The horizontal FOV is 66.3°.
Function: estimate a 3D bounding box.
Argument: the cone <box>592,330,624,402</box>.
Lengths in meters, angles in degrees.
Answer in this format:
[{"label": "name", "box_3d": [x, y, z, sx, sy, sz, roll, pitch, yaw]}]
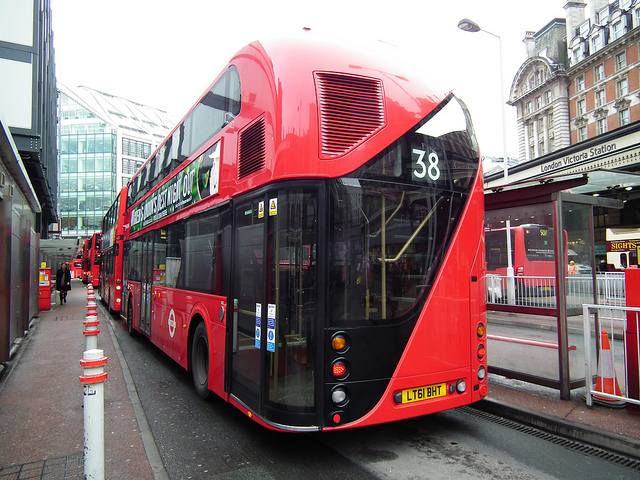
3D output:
[{"label": "cone", "box_3d": [4.772, 2.025, 8.071, 0.369, 1.077, 0.262, 3, 7, 35]}]

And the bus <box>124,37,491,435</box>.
[{"label": "bus", "box_3d": [-0.096, -0.131, 7.645, 5.022, 6.004, 2.646, 3, 7, 30]}]

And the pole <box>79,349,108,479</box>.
[{"label": "pole", "box_3d": [-2.580, 1.972, 5.610, 0.300, 1.441, 0.394, -4, 7, -28]}]
